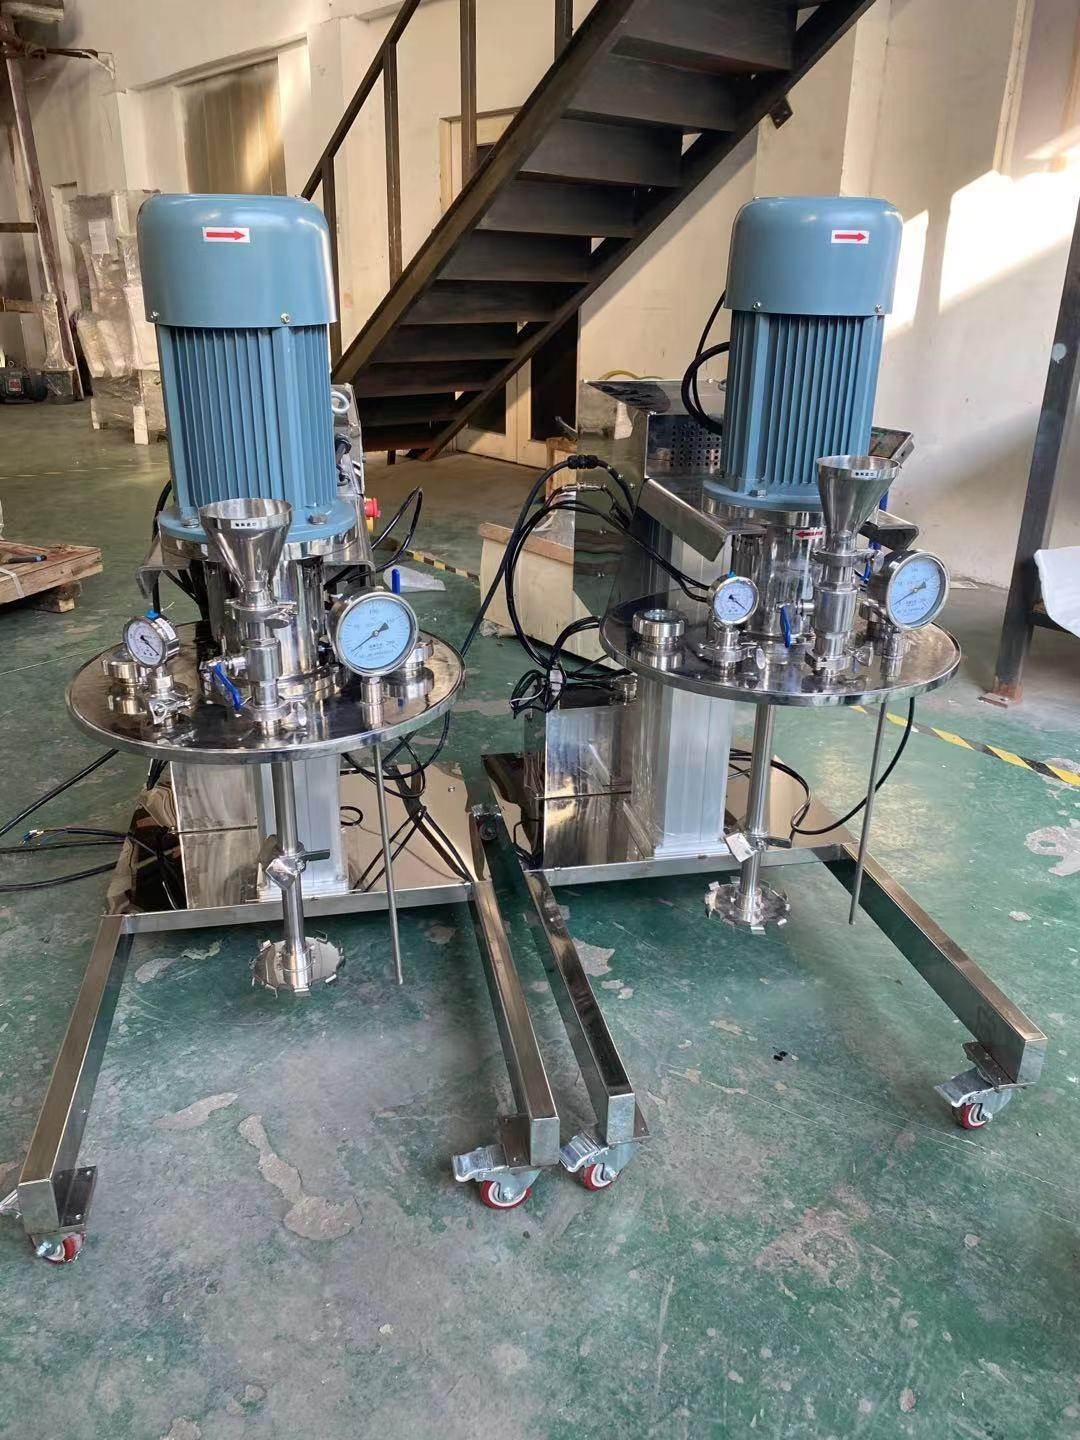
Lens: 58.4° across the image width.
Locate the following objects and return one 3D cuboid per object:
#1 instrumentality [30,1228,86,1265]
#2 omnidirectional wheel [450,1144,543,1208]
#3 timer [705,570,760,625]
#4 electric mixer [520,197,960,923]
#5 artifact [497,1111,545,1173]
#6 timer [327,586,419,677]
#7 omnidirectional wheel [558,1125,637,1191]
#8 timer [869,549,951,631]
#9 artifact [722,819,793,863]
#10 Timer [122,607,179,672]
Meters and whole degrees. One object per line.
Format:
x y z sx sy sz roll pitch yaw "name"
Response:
-0.572 0.622 1.152 0.067 0.022 0.050 -1 6 -21 "instrumentality"
-0.057 0.581 1.246 0.104 0.091 0.068 -1 17 -3 "omnidirectional wheel"
0.270 -0.163 1.351 0.058 0.074 0.031 1 17 5 "timer"
0.371 -0.221 1.565 0.563 1.076 0.632 -7 26 -18 "electric mixer"
-0.029 0.534 1.239 0.087 0.021 0.091 2 5 -6 "artifact"
-0.205 -0.105 1.242 0.072 0.123 0.123 10 19 31 "timer"
0.073 0.575 1.272 0.091 0.092 0.070 0 17 0 "omnidirectional wheel"
0.517 -0.178 1.346 0.111 0.110 0.049 -4 17 -15 "timer"
0.355 0.203 1.567 0.146 0.045 0.078 3 16 -32 "artifact"
-0.498 -0.097 1.233 0.099 0.077 0.051 14 22 40 "Timer"
